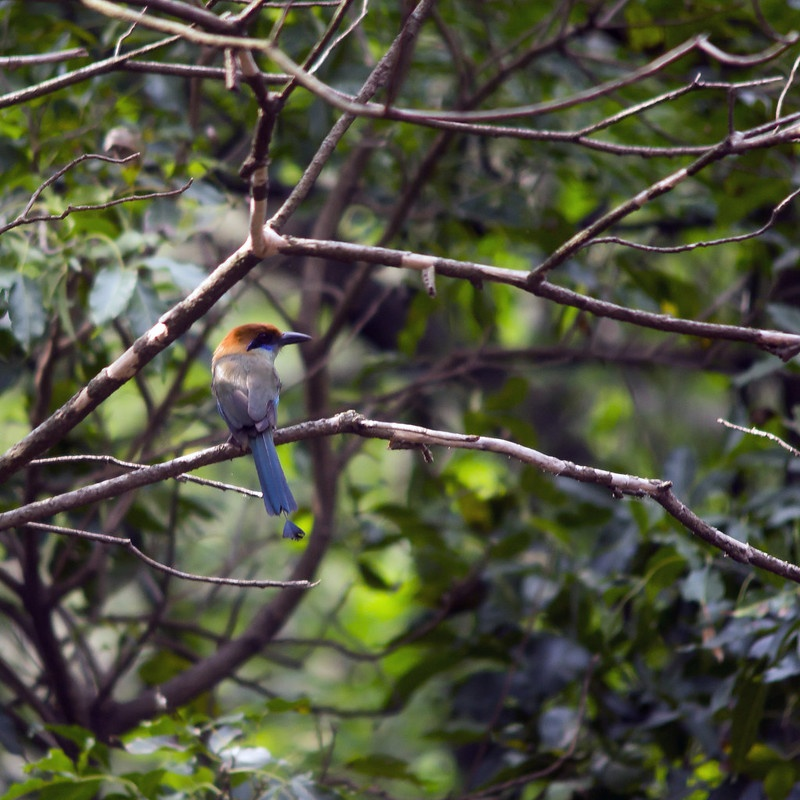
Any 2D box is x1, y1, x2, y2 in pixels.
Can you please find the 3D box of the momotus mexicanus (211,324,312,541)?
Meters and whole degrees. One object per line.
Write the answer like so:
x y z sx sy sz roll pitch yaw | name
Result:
-0.607 0.030 4.882 0.376 1.058 0.461 -1 -33 -12 | momotus mexicanus
